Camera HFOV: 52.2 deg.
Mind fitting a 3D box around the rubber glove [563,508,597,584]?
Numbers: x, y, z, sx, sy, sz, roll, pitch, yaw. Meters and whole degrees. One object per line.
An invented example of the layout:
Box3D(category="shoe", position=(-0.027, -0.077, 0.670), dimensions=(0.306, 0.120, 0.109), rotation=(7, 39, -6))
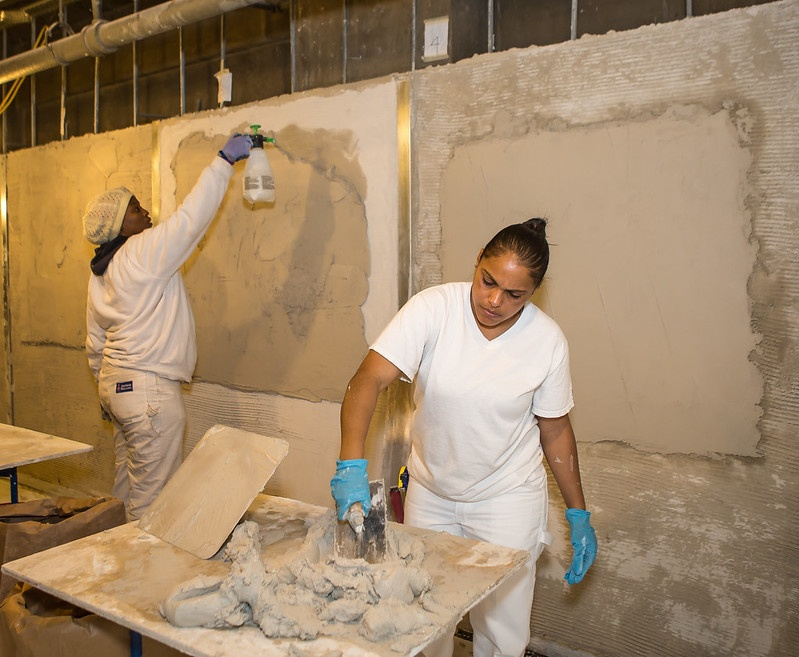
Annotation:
Box3D(category="rubber glove", position=(0.630, 0.753, 2.872), dimensions=(0.150, 0.245, 0.059), rotation=(-5, 2, -5))

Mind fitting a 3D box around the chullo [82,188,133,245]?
Box3D(category="chullo", position=(-1.398, -0.539, 3.910), dimensions=(0.121, 0.263, 0.214), rotation=(-5, 12, -38))

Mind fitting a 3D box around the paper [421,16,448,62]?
Box3D(category="paper", position=(0.164, -1.308, 3.700), dimensions=(0.129, 0.194, 0.035), rotation=(-2, -5, 15))

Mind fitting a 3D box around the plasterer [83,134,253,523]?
Box3D(category="plasterer", position=(-1.195, 0.249, 4.006), dimensions=(0.707, 2.316, 0.478), rotation=(5, 9, 19))

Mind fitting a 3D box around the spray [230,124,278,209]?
Box3D(category="spray", position=(-0.687, -0.772, 3.887), dimensions=(0.133, 0.383, 0.138), rotation=(-2, -1, 12))

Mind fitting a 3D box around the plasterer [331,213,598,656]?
Box3D(category="plasterer", position=(0.258, 0.584, 2.882), dimensions=(0.650, 1.872, 0.745), rotation=(1, 3, 18))

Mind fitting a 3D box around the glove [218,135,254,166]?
Box3D(category="glove", position=(-0.768, -0.835, 3.808), dimensions=(0.147, 0.146, 0.063), rotation=(0, 1, -17))

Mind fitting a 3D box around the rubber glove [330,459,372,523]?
Box3D(category="rubber glove", position=(-0.152, 0.511, 2.538), dimensions=(0.123, 0.219, 0.121), rotation=(-16, -34, 15))
